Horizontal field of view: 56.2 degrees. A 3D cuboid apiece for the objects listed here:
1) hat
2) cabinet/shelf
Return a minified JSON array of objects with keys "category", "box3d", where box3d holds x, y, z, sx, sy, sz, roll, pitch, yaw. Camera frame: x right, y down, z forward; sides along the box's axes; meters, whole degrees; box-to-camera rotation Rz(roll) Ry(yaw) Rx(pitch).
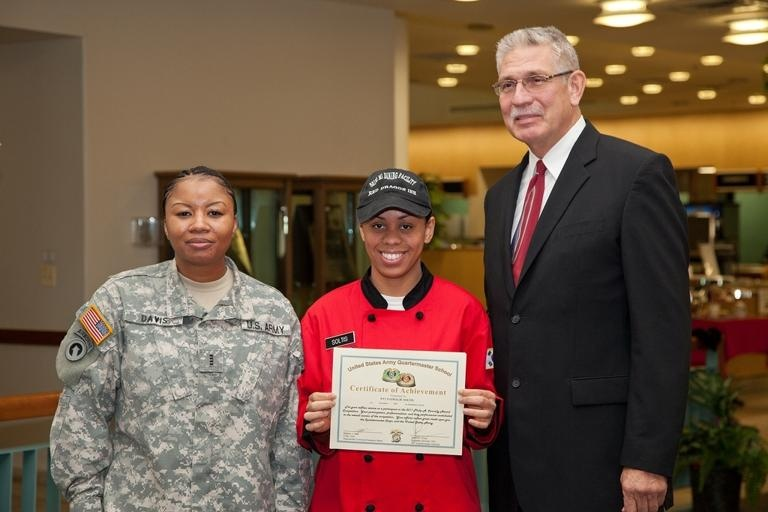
[{"category":"hat","box3d":[0.055,-0.268,3.246,0.357,0.246,0.480,-2,-2,-5]},{"category":"cabinet/shelf","box3d":[-0.842,-0.099,4.866,1.328,1.345,0.449,0,-1,-23]}]
